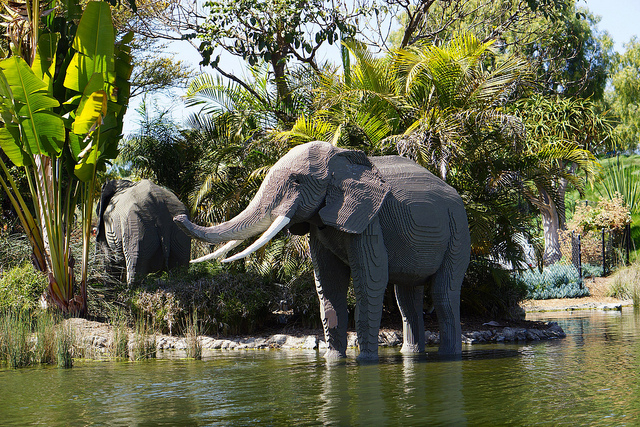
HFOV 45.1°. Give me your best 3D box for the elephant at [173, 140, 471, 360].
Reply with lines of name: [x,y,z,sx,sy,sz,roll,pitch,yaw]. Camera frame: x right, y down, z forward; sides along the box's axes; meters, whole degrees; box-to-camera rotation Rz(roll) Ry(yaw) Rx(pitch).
elephant: [0.339,0.671,13.135,5.210,3.958,2.186,3,2,-25]

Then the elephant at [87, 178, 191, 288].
elephant: [-4.694,0.591,19.010,1.737,3.016,4.582,0,1,-32]
